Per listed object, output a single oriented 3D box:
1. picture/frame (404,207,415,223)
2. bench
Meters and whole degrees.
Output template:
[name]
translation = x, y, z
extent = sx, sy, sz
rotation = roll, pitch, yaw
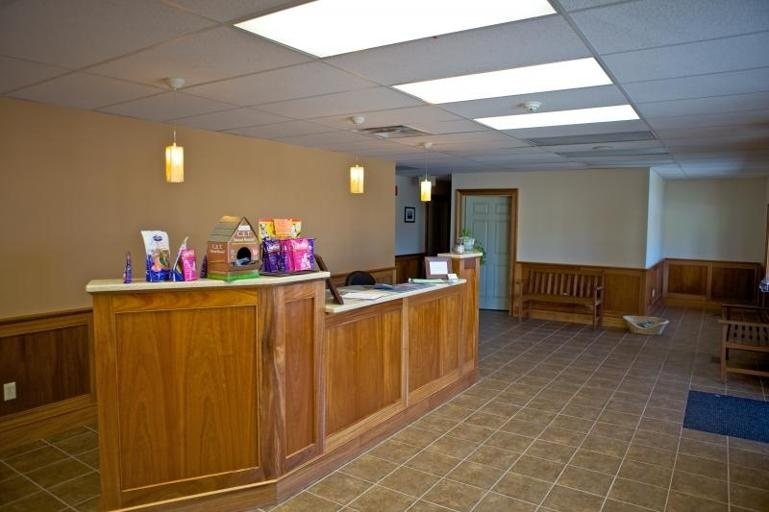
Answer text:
[picture/frame]
translation = 0.572, -0.987, 11.836
extent = 0.016, 0.292, 0.426
rotation = -1, 0, 25
[bench]
translation = 3.399, 0.788, 9.764
extent = 1.536, 0.970, 0.588
rotation = 2, 9, 39
